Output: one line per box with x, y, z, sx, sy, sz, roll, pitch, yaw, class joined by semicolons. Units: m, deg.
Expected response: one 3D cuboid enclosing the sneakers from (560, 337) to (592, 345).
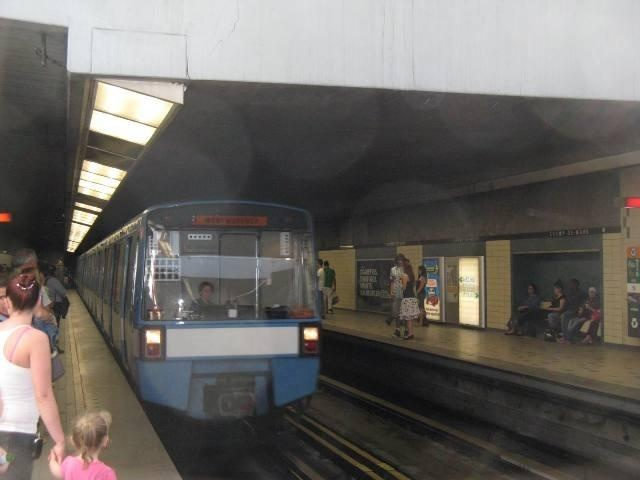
5.940;2.339;11.922;0.582;0.264;0.208;-5;-5;26;sneakers

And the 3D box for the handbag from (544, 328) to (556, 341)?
5.459;2.323;12.328;0.188;0.363;0.351;8;-13;-16;handbag

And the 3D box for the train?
-1.557;0.966;7.205;2.907;0.820;3.151;0;6;-4;train

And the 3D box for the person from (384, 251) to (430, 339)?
2.067;1.414;12.546;0.675;1.714;1.073;2;1;9;person

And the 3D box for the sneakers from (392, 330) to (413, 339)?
2.057;2.337;12.421;0.164;0.221;0.508;1;0;-23;sneakers

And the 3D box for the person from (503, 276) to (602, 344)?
5.741;1.731;12.441;0.975;1.555;2.119;2;1;-16;person
